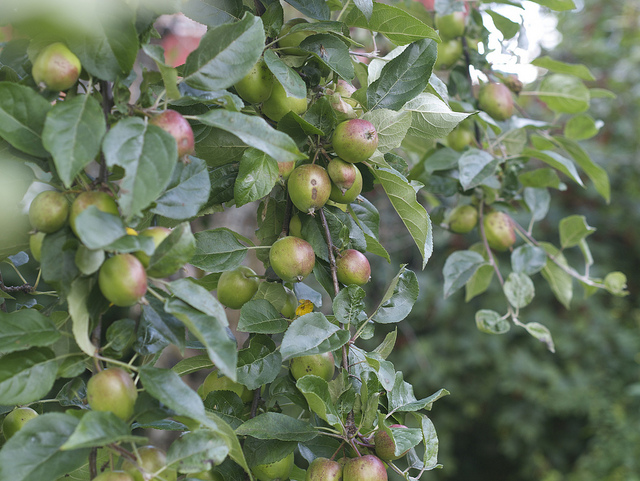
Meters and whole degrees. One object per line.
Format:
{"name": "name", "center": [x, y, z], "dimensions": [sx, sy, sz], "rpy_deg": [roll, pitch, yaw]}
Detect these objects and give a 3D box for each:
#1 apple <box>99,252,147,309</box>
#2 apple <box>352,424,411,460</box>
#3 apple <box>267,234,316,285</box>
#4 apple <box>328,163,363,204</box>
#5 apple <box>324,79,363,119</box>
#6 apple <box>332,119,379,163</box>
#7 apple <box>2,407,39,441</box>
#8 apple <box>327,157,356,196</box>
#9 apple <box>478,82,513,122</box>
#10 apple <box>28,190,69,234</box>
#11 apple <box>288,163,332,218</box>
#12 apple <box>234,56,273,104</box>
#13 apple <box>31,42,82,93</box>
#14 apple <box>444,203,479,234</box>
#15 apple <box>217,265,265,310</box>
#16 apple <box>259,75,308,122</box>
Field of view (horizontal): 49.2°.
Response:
{"name": "apple", "center": [-0.346, 0.073, 1.230], "dimensions": [0.075, 0.078, 0.068], "rpy_deg": [3, 36, -37]}
{"name": "apple", "center": [0.129, 0.398, 1.406], "dimensions": [0.091, 0.057, 0.061], "rpy_deg": [-4, -5, -5]}
{"name": "apple", "center": [-0.056, 0.044, 1.493], "dimensions": [0.086, 0.098, 0.113], "rpy_deg": [-2, 70, 13]}
{"name": "apple", "center": [0.055, -0.110, 1.501], "dimensions": [0.067, 0.067, 0.089], "rpy_deg": [0, 73, -28]}
{"name": "apple", "center": [0.046, -0.297, 1.499], "dimensions": [0.066, 0.056, 0.060], "rpy_deg": [30, 64, -14]}
{"name": "apple", "center": [0.074, -0.200, 1.476], "dimensions": [0.077, 0.089, 0.101], "rpy_deg": [6, 17, 14]}
{"name": "apple", "center": [-0.622, 0.375, 1.444], "dimensions": [0.046, 0.065, 0.062], "rpy_deg": [32, 29, 12]}
{"name": "apple", "center": [0.045, -0.130, 1.454], "dimensions": [0.045, 0.072, 0.048], "rpy_deg": [-6, 9, -14]}
{"name": "apple", "center": [0.505, -0.410, 2.120], "dimensions": [0.100, 0.121, 0.133], "rpy_deg": [-5, 1, 45]}
{"name": "apple", "center": [-0.491, -0.050, 1.266], "dimensions": [0.055, 0.082, 0.061], "rpy_deg": [-19, 46, -3]}
{"name": "apple", "center": [-0.020, -0.103, 1.476], "dimensions": [0.085, 0.120, 0.091], "rpy_deg": [-1, 1, -1]}
{"name": "apple", "center": [-0.139, -0.336, 1.470], "dimensions": [0.071, 0.095, 0.077], "rpy_deg": [10, 20, 2]}
{"name": "apple", "center": [-0.479, -0.315, 1.318], "dimensions": [0.065, 0.074, 0.091], "rpy_deg": [6, 41, 47]}
{"name": "apple", "center": [0.420, -0.056, 2.080], "dimensions": [0.084, 0.073, 0.069], "rpy_deg": [-14, 37, 1]}
{"name": "apple", "center": [-0.188, 0.101, 1.555], "dimensions": [0.091, 0.104, 0.097], "rpy_deg": [17, 8, -10]}
{"name": "apple", "center": [-0.081, -0.282, 1.517], "dimensions": [0.078, 0.105, 0.083], "rpy_deg": [-22, -11, 28]}
